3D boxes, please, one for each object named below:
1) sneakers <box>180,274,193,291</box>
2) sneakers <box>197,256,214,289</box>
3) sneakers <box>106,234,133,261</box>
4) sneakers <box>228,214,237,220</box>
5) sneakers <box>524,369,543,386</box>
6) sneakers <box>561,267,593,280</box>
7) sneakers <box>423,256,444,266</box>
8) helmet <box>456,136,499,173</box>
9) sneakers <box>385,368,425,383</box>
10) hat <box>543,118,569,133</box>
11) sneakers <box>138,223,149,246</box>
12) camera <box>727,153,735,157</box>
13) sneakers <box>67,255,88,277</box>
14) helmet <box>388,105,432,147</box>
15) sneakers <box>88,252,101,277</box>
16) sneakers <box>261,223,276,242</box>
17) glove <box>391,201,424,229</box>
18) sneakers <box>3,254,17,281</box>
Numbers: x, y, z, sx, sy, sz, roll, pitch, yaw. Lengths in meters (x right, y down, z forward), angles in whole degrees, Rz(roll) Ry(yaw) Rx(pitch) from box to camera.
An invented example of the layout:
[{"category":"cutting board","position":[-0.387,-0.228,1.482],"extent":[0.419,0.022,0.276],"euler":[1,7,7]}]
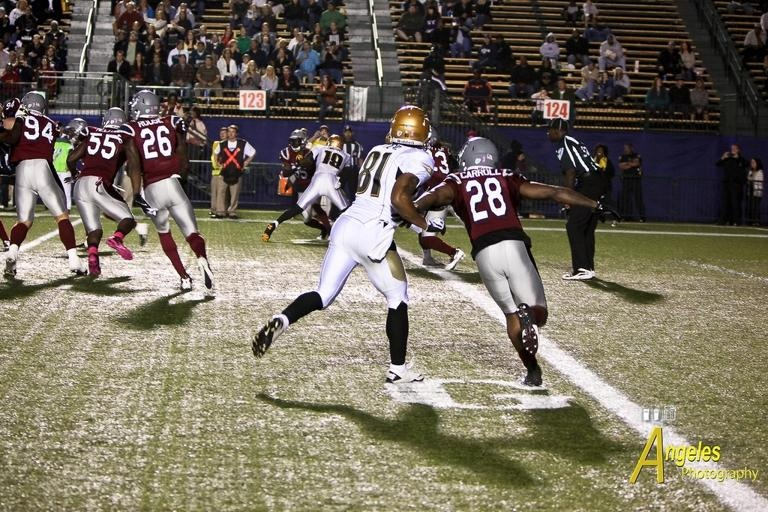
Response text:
[{"category":"sneakers","position":[-2.305,0.306,10.040],"extent":[0.140,0.187,0.077],"euler":[1,-5,-25]},{"category":"sneakers","position":[-2.113,0.204,10.142],"extent":[0.122,0.356,0.153],"euler":[-21,-3,21]},{"category":"sneakers","position":[-3.492,-0.107,11.291],"extent":[0.117,0.316,0.217],"euler":[-40,14,-3]},{"category":"sneakers","position":[-3.308,-0.873,18.883],"extent":[0.195,0.095,0.261],"euler":[-3,12,-23]},{"category":"sneakers","position":[1.193,0.946,6.860],"extent":[0.148,0.147,0.118],"euler":[3,11,11]},{"category":"sneakers","position":[2.586,0.218,11.518],"extent":[0.430,0.175,0.153],"euler":[2,10,6]},{"category":"sneakers","position":[0.732,0.048,12.635],"extent":[0.325,0.211,0.125],"euler":[-2,45,-11]},{"category":"helmet","position":[0.769,-0.845,7.130],"extent":[0.273,0.314,0.323],"euler":[1,19,-2]},{"category":"sneakers","position":[0.158,0.948,6.881],"extent":[0.320,0.144,0.112],"euler":[-2,0,-17]},{"category":"hat","position":[2.217,-1.714,11.245],"extent":[0.365,0.198,0.240],"euler":[1,8,26]},{"category":"sneakers","position":[-3.847,-0.343,13.717],"extent":[0.121,0.337,0.241],"euler":[-15,-15,-32]},{"category":"camera","position":[8.867,-2.582,21.911],"extent":[0.043,0.094,0.152],"euler":[-7,13,-37]},{"category":"sneakers","position":[-3.812,0.096,10.698],"extent":[0.196,0.271,0.282],"euler":[-2,11,-20]},{"category":"helmet","position":[0.217,-1.069,7.045],"extent":[0.290,0.302,0.360],"euler":[9,30,5]},{"category":"sneakers","position":[-3.474,0.158,10.326],"extent":[0.143,0.404,0.173],"euler":[5,39,-11]},{"category":"sneakers","position":[-2.000,-0.404,14.884],"extent":[0.166,0.365,0.123],"euler":[19,28,-45]},{"category":"glove","position":[0.174,-0.318,6.909],"extent":[0.195,0.107,0.141],"euler":[34,-15,-12]},{"category":"sneakers","position":[-4.423,0.120,10.183],"extent":[0.129,0.367,0.162],"euler":[8,33,-11]}]
